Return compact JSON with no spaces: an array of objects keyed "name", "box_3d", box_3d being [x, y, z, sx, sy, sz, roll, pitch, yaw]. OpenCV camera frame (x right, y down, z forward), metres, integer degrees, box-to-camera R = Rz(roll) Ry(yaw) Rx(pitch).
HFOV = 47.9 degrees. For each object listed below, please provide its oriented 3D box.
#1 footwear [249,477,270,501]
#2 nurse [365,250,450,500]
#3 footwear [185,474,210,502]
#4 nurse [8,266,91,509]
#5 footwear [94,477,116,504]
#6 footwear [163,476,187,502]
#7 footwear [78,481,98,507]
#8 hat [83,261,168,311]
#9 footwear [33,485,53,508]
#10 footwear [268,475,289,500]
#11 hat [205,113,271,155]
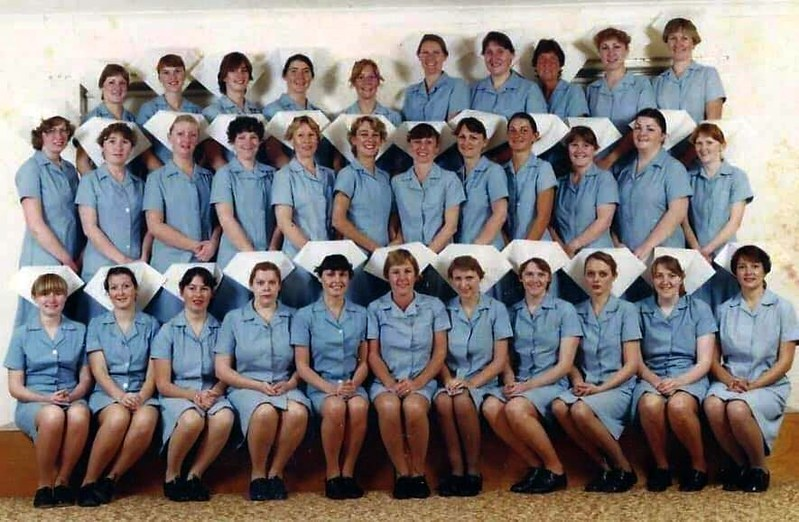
[{"name":"footwear","box_3d":[-0.746,1.194,4.725,0.075,0.132,0.058,-1,5,0]},{"name":"nurse","box_3d":[0.022,0.586,4.832,0.430,1.256,0.460,0,10,17]},{"name":"footwear","box_3d":[-1.056,1.194,4.716,0.082,0.064,0.161,2,1,-27]},{"name":"nurse","box_3d":[-1.883,0.672,4.838,0.415,1.160,0.475,-7,10,-24]},{"name":"footwear","box_3d":[-1.550,1.198,4.724,0.068,0.132,0.059,7,10,-12]},{"name":"footwear","box_3d":[-1.180,1.189,4.715,0.113,0.118,0.055,-4,10,-12]},{"name":"footwear","box_3d":[-1.640,1.215,4.714,0.118,0.115,0.064,-4,9,-9]},{"name":"hat","box_3d":[-1.479,0.112,4.963,0.351,0.274,0.105,13,5,-9]},{"name":"footwear","box_3d":[-1.880,1.234,4.721,0.075,0.055,0.127,0,21,-12]},{"name":"footwear","box_3d":[-0.644,1.190,4.733,0.075,0.060,0.138,0,11,-17]},{"name":"hat","box_3d":[-0.916,-0.720,5.009,0.321,0.203,0.055,-1,10,9]}]
